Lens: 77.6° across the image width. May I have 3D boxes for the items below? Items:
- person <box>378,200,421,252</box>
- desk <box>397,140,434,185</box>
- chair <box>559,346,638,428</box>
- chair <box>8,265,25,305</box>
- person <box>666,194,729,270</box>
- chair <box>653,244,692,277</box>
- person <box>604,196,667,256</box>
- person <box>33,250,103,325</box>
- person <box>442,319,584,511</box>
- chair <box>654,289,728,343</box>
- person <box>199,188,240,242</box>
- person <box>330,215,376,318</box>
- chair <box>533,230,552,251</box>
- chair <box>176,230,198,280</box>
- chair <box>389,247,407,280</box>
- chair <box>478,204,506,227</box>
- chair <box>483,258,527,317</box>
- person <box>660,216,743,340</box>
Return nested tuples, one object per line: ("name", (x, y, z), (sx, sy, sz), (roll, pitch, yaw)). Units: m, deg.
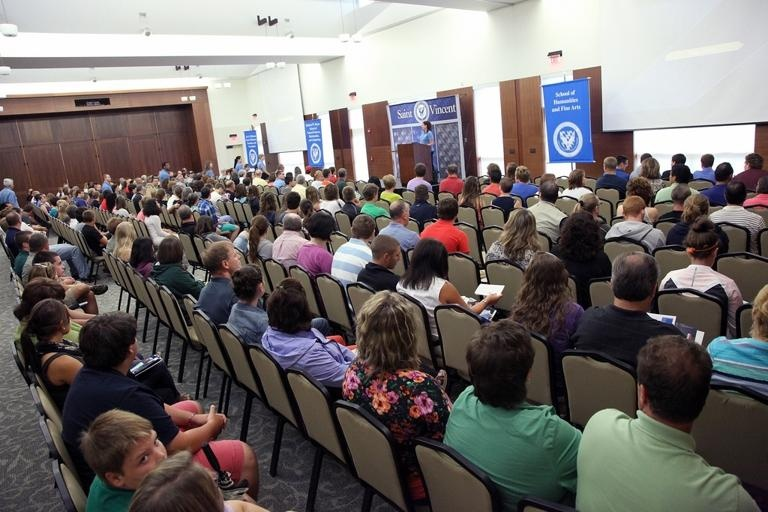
("person", (0.175, -0.400, 6.029), (0.354, 0.631, 0.676), (-23, 28, -40))
("desk", (0.776, -2.551, 12.923), (0.659, 0.981, 0.691), (-7, 6, -14))
("chair", (1.348, 0.801, 2.967), (0.329, 0.648, 0.403), (14, 30, 38))
("chair", (-5.509, 0.443, 7.173), (0.197, 0.384, 0.532), (-4, 21, -32))
("person", (3.395, -0.246, 5.125), (0.397, 0.787, 0.538), (-14, 8, -44))
("chair", (2.693, 0.030, 4.450), (0.153, 0.296, 0.184), (18, 48, 34))
("person", (2.754, -0.315, 5.379), (0.720, 0.754, 0.440), (2, 33, 28))
("person", (-3.532, 0.323, 5.366), (0.383, 0.969, 0.572), (23, 37, 36))
("person", (0.745, 0.885, 2.633), (0.676, 0.869, 0.571), (14, 26, 36))
("chair", (2.282, 0.435, 3.515), (0.232, 0.448, 0.288), (16, 45, 37))
("person", (-2.874, -0.601, 8.546), (0.605, 1.255, 0.470), (-10, 11, -21))
("person", (-0.246, 0.048, 5.329), (0.623, 1.052, 0.618), (8, 8, -4))
("chair", (1.823, -0.176, 5.499), (0.115, 0.231, 0.136), (28, 54, 31))
("chair", (-3.125, -0.113, 7.671), (0.326, 0.372, 0.613), (-18, 65, -11))
("chair", (0.152, 0.063, 5.034), (0.167, 0.344, 0.195), (23, 37, 40))
("chair", (1.646, -0.622, 7.252), (0.249, 0.479, 0.307), (12, 55, 24))
("chair", (1.120, 0.267, 4.407), (0.312, 0.615, 0.371), (13, 30, 31))
("person", (2.738, 0.145, 4.149), (0.658, 1.213, 0.648), (13, 39, 44))
